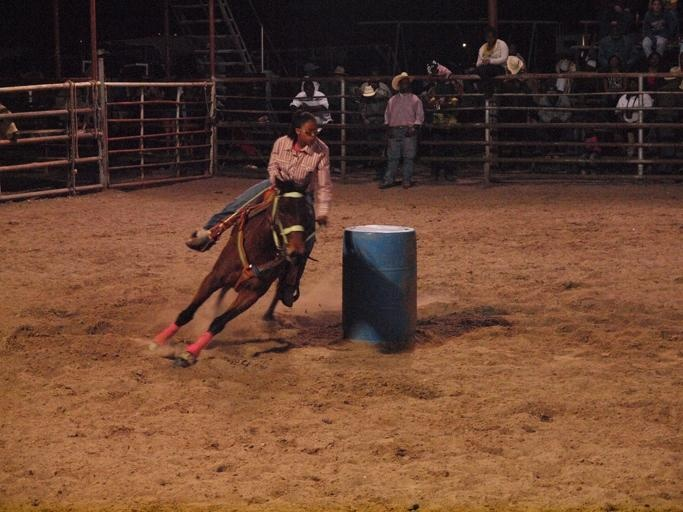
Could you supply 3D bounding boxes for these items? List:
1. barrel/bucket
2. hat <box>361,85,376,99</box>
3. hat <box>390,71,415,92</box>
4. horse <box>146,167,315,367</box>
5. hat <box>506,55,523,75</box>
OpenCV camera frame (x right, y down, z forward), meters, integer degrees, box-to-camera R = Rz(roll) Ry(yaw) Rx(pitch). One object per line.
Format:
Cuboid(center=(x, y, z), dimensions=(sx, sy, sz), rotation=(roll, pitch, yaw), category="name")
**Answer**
Cuboid(center=(0.374, 0.310, 7.223), dimensions=(0.692, 1.163, 0.343), rotation=(0, 12, -5), category="barrel/bucket")
Cuboid(center=(0.622, -3.815, 16.750), dimensions=(0.325, 0.123, 0.332), rotation=(-9, 34, 9), category="hat")
Cuboid(center=(1.275, -3.716, 15.371), dimensions=(0.383, 0.376, 0.727), rotation=(2, 10, 5), category="hat")
Cuboid(center=(-0.847, 0.120, 6.656), dimensions=(1.544, 1.707, 0.925), rotation=(6, 13, 23), category="horse")
Cuboid(center=(4.048, -4.479, 16.827), dimensions=(0.359, 0.509, 0.962), rotation=(4, 10, 13), category="hat")
